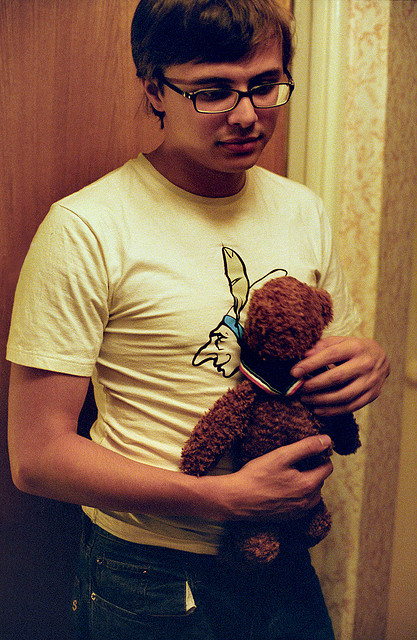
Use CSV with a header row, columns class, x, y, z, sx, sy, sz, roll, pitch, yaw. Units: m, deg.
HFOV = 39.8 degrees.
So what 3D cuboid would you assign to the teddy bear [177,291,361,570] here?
class,x,y,z,sx,sy,sz,roll,pitch,yaw
teddy bear,0.104,0.201,0.901,0.305,0.501,0.134,-1,16,-4
